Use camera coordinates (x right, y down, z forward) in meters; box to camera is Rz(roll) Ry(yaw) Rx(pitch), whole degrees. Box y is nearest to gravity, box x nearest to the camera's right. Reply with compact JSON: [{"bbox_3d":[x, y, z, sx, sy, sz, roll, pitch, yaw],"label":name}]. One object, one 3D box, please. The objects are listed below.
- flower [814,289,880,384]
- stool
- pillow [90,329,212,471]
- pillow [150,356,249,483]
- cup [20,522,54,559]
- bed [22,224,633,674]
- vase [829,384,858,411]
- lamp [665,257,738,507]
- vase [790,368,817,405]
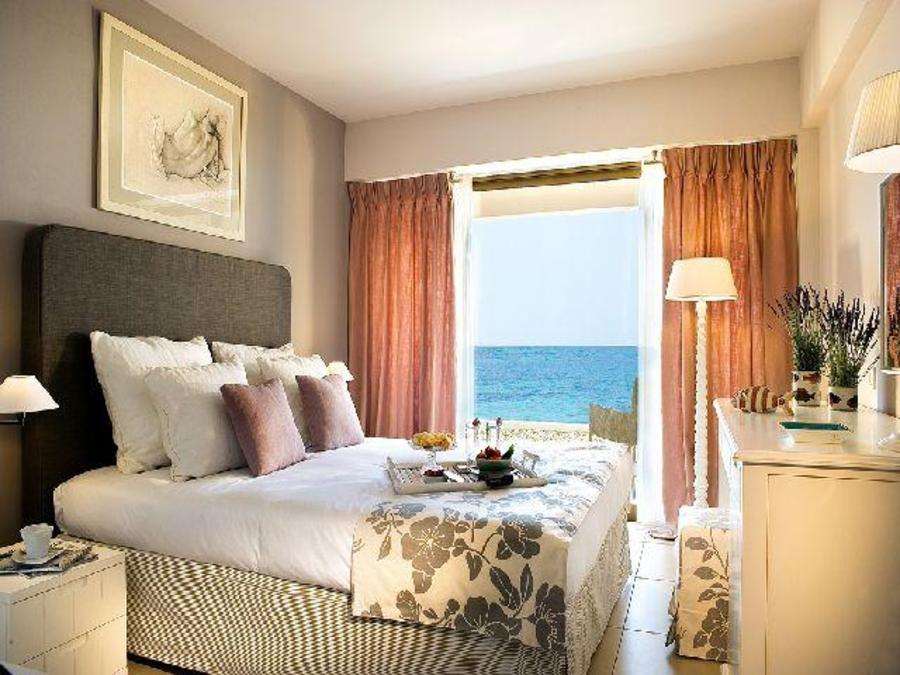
[{"bbox_3d":[2.083,0.004,3.454,0.254,0.461,0.950,1,3,33],"label":"flower"},{"bbox_3d":[1.346,1.299,3.368,0.331,0.616,0.336,-9,-18,42],"label":"stool"},{"bbox_3d":[-1.605,0.367,3.513,0.298,0.573,0.612,10,10,14],"label":"pillow"},{"bbox_3d":[-1.263,0.441,3.642,0.296,0.567,0.616,4,0,29],"label":"pillow"},{"bbox_3d":[-1.790,0.888,2.902,0.128,0.135,0.129,-1,-10,0],"label":"cup"},{"bbox_3d":[-0.837,0.728,3.806,2.355,1.654,2.478,0,-1,16],"label":"bed"},{"bbox_3d":[1.919,0.296,3.239,0.116,0.118,0.159,1,3,32],"label":"vase"},{"bbox_3d":[1.750,0.321,4.642,0.442,1.742,0.504,1,2,23],"label":"lamp"},{"bbox_3d":[1.837,0.261,3.428,0.125,0.185,0.154,1,3,28],"label":"vase"}]
